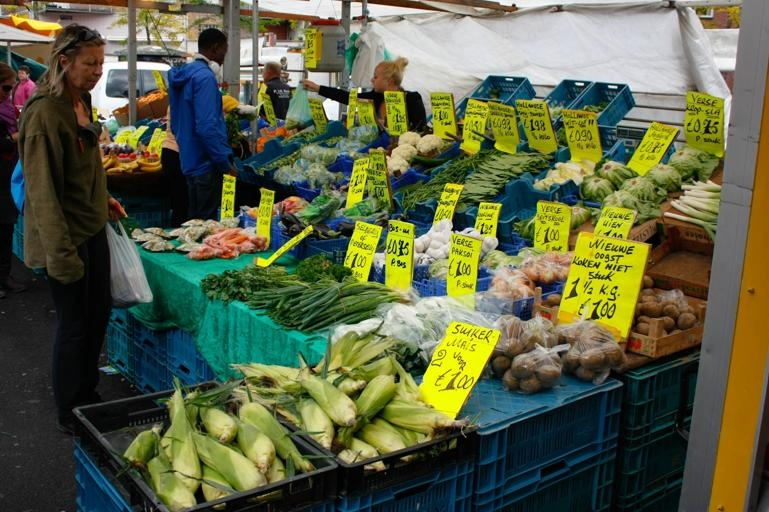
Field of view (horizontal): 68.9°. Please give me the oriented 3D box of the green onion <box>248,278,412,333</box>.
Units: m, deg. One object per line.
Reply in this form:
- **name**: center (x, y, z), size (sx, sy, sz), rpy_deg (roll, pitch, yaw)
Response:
- **green onion**: center (-0.335, 0.326, 3.593), size (0.765, 0.132, 0.222), rpy_deg (-9, 23, -30)

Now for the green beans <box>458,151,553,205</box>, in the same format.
- **green beans**: center (1.016, -0.732, 5.004), size (0.616, 0.183, 0.613), rpy_deg (-9, 21, 6)

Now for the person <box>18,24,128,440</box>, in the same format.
- **person**: center (-2.243, -0.084, 4.056), size (1.050, 2.844, 0.952), rpy_deg (0, 8, -15)

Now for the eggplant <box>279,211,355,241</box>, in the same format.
- **eggplant**: center (-0.569, -0.247, 4.780), size (0.417, 0.135, 0.315), rpy_deg (-8, 12, -22)
